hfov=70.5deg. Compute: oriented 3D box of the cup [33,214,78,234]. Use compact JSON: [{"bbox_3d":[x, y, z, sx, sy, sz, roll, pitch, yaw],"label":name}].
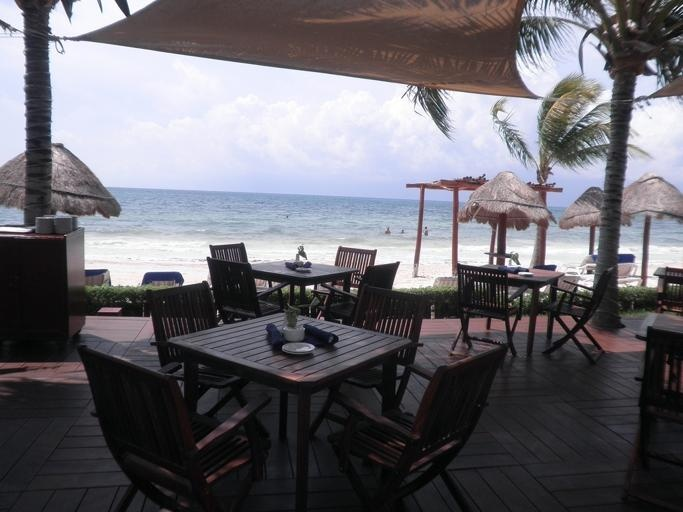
[{"bbox_3d":[-3.188,-0.356,5.498,0.271,0.123,0.364,1,6,-2],"label":"cup"}]
